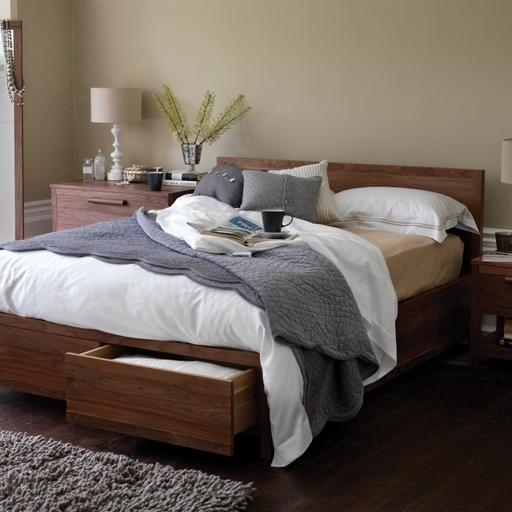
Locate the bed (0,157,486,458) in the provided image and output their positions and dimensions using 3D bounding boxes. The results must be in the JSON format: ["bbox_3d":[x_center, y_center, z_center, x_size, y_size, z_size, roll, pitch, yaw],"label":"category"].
[{"bbox_3d":[0.140,0.145,2.350,2.068,0.689,1.859,5,9,32],"label":"bed"}]

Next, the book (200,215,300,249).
[{"bbox_3d":[-0.024,-0.115,2.062,0.416,0.133,0.315,1,-1,7],"label":"book"}]

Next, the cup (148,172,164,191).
[{"bbox_3d":[-0.768,-0.565,3.488,0.157,0.130,0.142,-1,1,-8],"label":"cup"}]

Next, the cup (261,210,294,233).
[{"bbox_3d":[0.083,-0.161,2.121,0.164,0.088,0.101,0,1,-8],"label":"cup"}]

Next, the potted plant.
[{"bbox_3d":[-0.425,-1.025,3.952,0.843,0.626,0.797,3,8,-26],"label":"potted plant"}]
